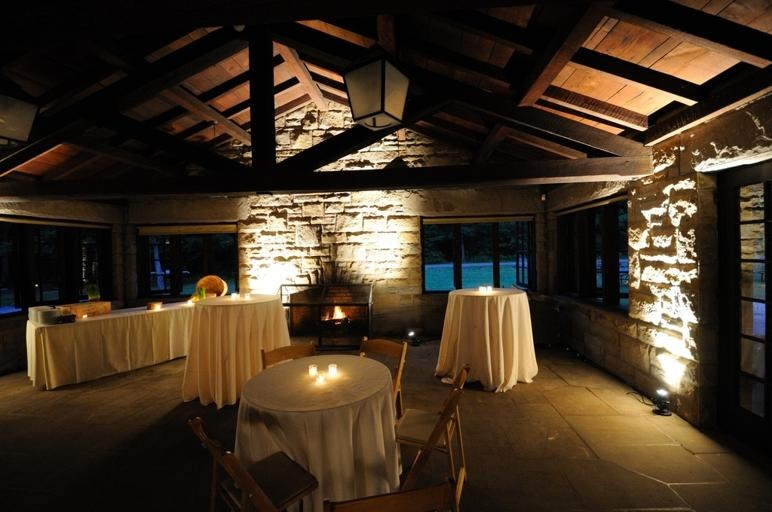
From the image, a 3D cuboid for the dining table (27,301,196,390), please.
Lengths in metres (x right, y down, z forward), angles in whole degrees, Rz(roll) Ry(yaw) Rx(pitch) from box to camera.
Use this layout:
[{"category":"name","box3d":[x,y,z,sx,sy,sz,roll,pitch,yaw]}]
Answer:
[{"category":"dining table","box3d":[-3.819,1.105,7.096,0.817,0.826,2.290,18,10,26]}]

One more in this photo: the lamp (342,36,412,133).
[{"category":"lamp","box3d":[-0.093,-1.754,5.151,0.582,0.777,0.572,-3,0,31]}]

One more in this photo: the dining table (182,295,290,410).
[{"category":"dining table","box3d":[-1.933,1.112,6.255,0.826,1.035,1.144,-1,2,24]}]

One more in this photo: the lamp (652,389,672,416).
[{"category":"lamp","box3d":[3.073,1.603,5.641,0.176,0.266,0.233,-1,1,28]}]

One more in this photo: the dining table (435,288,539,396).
[{"category":"dining table","box3d":[1.262,0.992,6.551,1.298,0.952,0.978,-1,2,-7]}]
